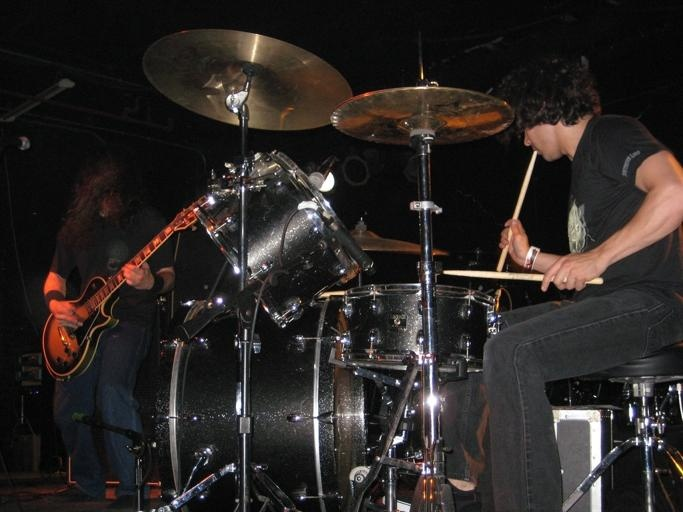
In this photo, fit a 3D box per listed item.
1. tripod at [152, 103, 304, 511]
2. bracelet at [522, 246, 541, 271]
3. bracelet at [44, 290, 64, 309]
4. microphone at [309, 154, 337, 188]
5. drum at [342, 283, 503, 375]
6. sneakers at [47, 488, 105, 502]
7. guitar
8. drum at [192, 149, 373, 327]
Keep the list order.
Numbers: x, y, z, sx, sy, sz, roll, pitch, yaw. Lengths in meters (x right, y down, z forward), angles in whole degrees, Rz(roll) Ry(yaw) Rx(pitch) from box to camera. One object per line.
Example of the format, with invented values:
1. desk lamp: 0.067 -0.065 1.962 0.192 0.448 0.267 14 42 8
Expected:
1. tripod: -0.626 0.286 5.136 0.736 2.491 0.708 2 -17 -6
2. bracelet: 1.115 0.017 4.908 0.050 0.129 0.100 5 15 1
3. bracelet: -2.256 0.327 6.495 0.094 0.124 0.132 -6 -14 35
4. microphone: -0.116 -0.545 5.362 0.125 0.131 0.461 30 11 2
5. drum: 0.601 0.524 5.872 1.172 0.474 1.162 3 -8 0
6. sneakers: -2.004 1.816 6.241 0.207 0.058 0.154 5 -11 4
7. guitar: -1.640 0.277 6.296 1.889 0.682 0.254 -43 -37 6
8. drum: -0.310 -0.116 5.338 0.860 1.138 0.958 -41 -22 -8
